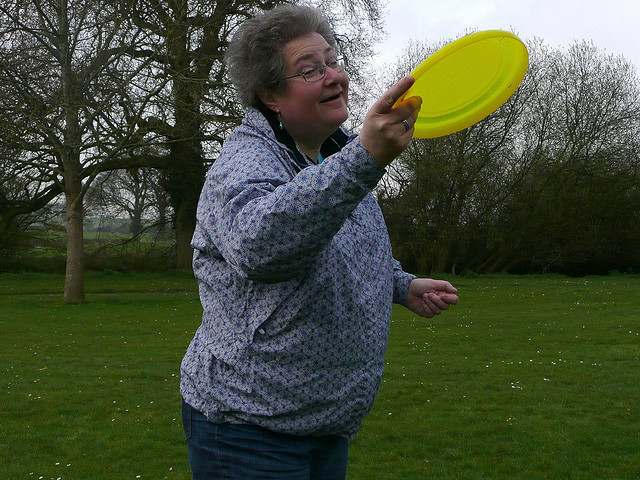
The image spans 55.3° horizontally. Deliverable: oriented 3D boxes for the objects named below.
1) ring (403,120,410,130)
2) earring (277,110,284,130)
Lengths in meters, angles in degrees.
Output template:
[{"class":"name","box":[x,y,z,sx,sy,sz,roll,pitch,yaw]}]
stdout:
[{"class":"ring","box":[0.490,-0.656,3.461,0.014,0.050,0.045,-5,-6,43]},{"class":"earring","box":[-0.248,-0.768,3.933,0.036,0.123,0.042,0,-5,-3]}]
